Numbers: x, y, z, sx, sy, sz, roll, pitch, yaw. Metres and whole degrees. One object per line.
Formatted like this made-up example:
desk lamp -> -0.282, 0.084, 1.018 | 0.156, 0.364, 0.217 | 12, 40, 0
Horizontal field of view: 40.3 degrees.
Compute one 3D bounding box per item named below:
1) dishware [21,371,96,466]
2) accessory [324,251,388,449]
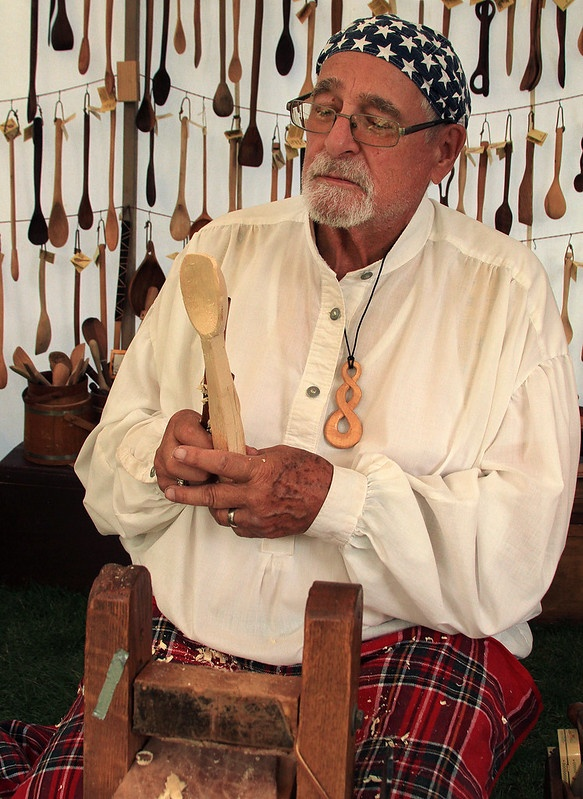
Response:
dishware -> -0.841, 0.080, 2.877 | 0.248, 0.277, 0.252 | -5, 18, -37
accessory -> 0.123, -0.091, 1.580 | 0.072, 0.430, 0.042 | 7, -28, 1
